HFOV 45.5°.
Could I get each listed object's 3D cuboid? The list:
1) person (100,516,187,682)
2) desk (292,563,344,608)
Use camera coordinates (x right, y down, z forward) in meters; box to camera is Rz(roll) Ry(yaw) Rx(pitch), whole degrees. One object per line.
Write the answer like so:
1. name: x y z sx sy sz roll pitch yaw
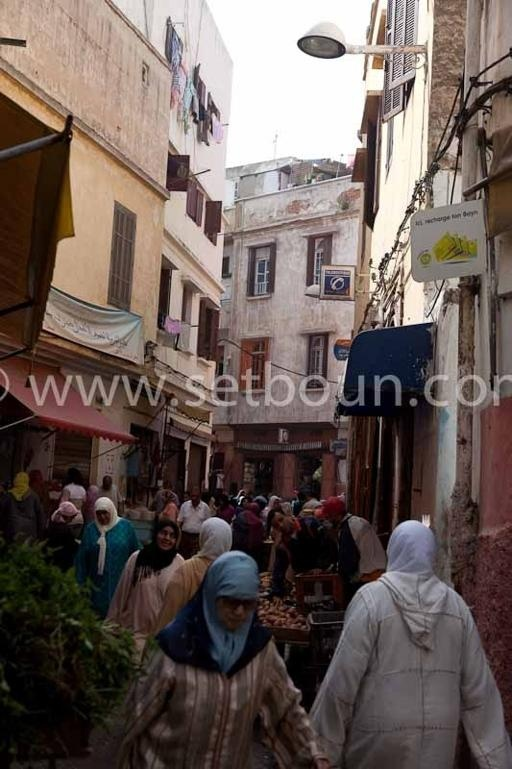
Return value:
1. person: -0.835 1.520 4.791 0.492 0.342 1.258 3 -53 -22
2. desk: 0.719 2.345 7.171 0.425 0.407 0.466 2 -1 -2
